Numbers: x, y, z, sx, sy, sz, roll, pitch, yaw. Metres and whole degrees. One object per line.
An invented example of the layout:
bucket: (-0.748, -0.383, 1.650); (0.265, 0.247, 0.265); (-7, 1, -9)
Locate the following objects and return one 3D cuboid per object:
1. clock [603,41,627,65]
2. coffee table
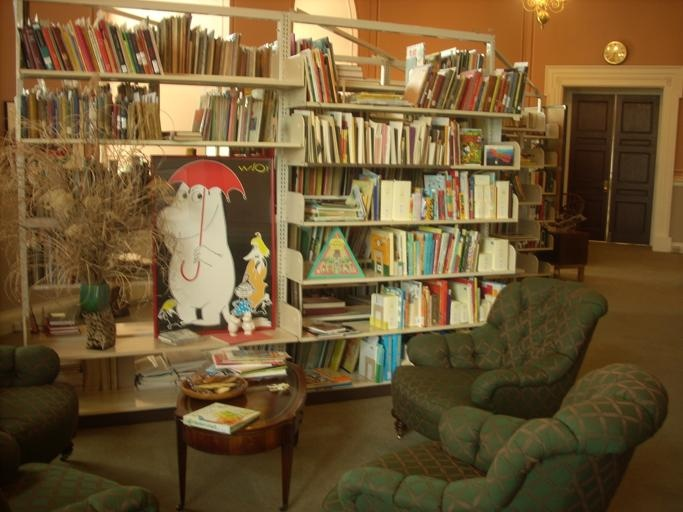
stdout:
clock: (4.810, -3.599, 9.928); (0.371, 0.436, 0.085); (0, 19, 17)
coffee table: (-0.521, 0.862, 3.050); (0.526, 0.461, 0.903); (-1, 11, -11)
